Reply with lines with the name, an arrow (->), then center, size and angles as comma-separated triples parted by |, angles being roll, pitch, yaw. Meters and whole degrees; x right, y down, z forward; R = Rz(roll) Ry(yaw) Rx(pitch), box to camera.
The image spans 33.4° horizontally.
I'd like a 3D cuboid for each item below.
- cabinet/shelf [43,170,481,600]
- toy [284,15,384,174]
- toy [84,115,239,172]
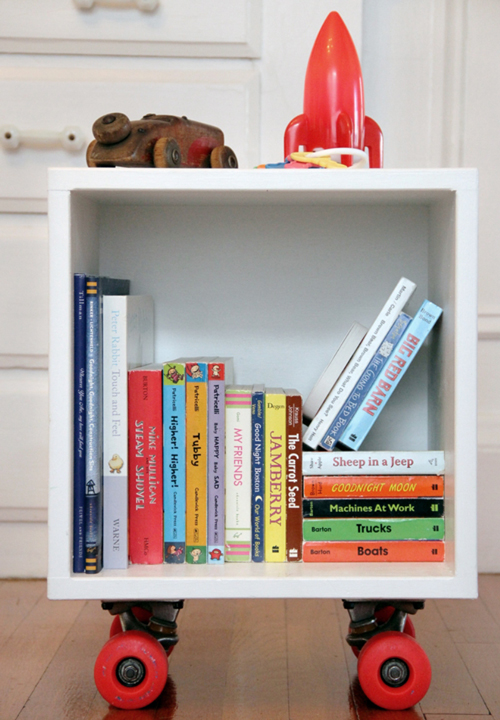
cabinet/shelf -> 0.038, -0.009, 1.224 | 0.530, 0.531, 0.407 | 3, 11, 8
toy -> 0.117, -0.394, 1.192 | 0.142, 0.241, 0.181 | 0, 6, 8
toy -> -0.125, -0.309, 1.182 | 0.124, 0.094, 0.234 | 5, 8, 41
